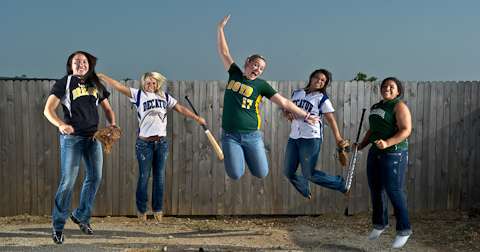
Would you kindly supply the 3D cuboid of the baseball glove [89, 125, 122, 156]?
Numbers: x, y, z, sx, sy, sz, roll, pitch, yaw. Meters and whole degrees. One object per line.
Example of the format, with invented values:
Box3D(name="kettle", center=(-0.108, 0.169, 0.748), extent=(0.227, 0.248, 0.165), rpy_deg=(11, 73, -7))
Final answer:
Box3D(name="baseball glove", center=(-3.263, 0.267, 13.516), extent=(0.325, 0.584, 0.754), rpy_deg=(-33, 16, 38))
